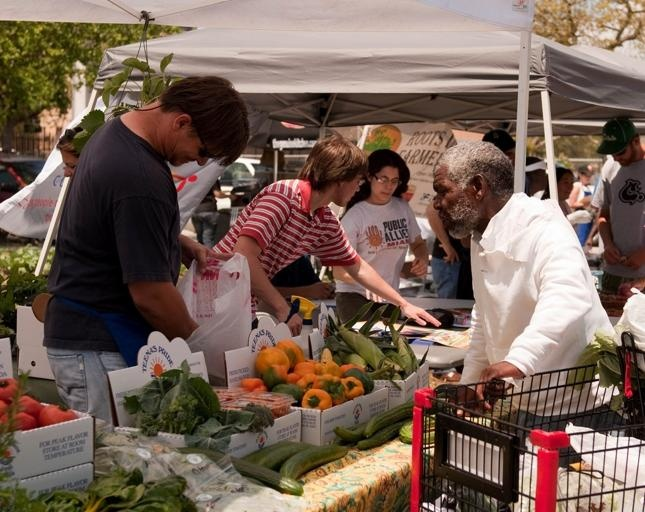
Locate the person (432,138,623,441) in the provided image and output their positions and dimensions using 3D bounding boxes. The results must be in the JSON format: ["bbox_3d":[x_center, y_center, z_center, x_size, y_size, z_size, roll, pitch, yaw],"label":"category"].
[{"bbox_3d":[0.896,0.129,2.559,0.808,1.301,0.823,8,9,36],"label":"person"}]

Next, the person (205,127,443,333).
[{"bbox_3d":[-0.319,-0.265,4.082,1.412,1.414,1.137,-4,15,-35],"label":"person"}]
